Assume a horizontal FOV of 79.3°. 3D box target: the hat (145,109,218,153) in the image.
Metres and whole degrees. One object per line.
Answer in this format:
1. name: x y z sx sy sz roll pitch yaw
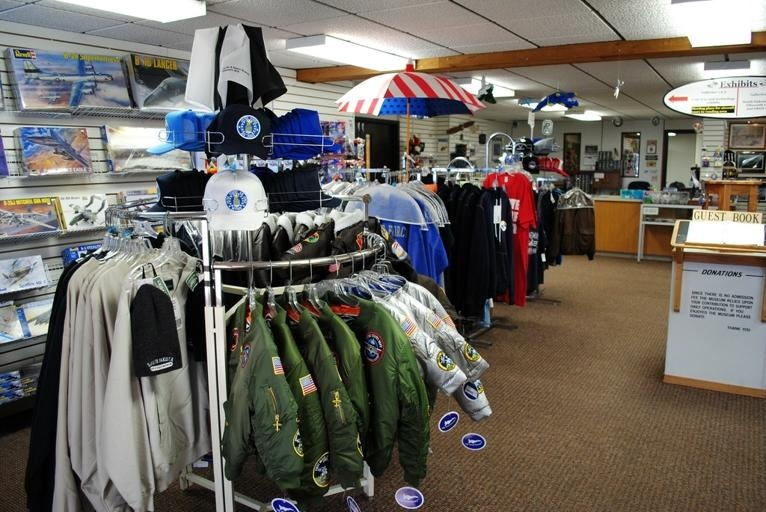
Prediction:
1. hat: -1.115 -0.716 2.743 0.268 0.226 0.446 10 16 34

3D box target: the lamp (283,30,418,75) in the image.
1. lamp: -0.440 -2.544 5.846 0.749 0.216 1.698 12 20 43

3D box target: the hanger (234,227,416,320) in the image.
1. hanger: -0.100 0.121 2.490 0.713 0.329 0.511 0 7 -39

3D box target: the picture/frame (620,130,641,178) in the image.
1. picture/frame: 7.318 -3.025 13.743 0.560 1.297 0.413 4 15 22

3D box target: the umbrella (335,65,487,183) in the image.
1. umbrella: 0.262 -1.485 4.641 1.318 0.984 1.311 -2 4 -11

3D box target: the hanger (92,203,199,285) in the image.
1. hanger: -1.311 -0.094 2.663 0.497 0.406 0.964 -8 15 -23

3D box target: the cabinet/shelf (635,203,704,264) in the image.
1. cabinet/shelf: 4.327 -0.410 7.062 1.108 1.228 0.409 2 3 31

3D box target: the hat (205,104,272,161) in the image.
1. hat: -0.731 -0.626 2.453 0.342 0.273 0.552 6 7 -15

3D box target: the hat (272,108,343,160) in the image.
1. hat: -0.480 -0.749 2.844 0.446 0.303 0.253 -8 16 -26
